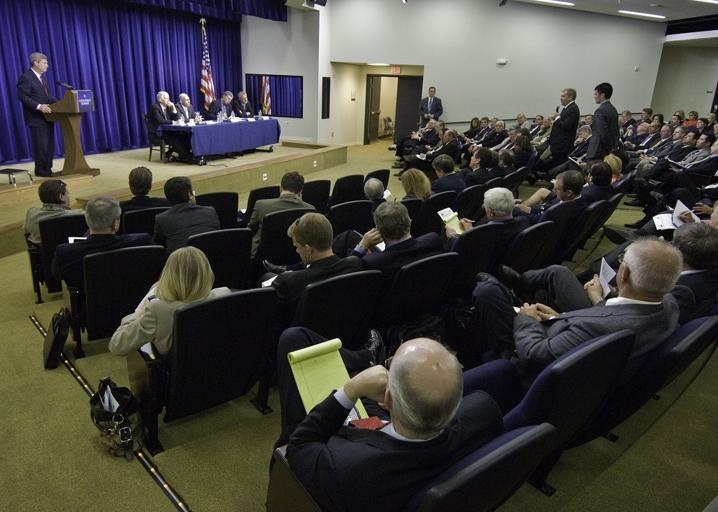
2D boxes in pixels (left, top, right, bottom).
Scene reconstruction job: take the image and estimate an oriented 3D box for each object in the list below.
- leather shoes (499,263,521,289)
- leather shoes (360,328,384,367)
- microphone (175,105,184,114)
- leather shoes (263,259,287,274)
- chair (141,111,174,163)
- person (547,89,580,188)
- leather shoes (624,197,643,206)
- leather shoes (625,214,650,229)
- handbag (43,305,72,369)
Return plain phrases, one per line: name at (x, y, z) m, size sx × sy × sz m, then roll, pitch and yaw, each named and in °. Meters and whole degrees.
leather shoes at (1.147, 0.147, 3.710) m, size 0.146 × 0.199 × 0.154 m, roll 3°, pitch 4°, yaw 37°
leather shoes at (0.080, 0.604, 3.225) m, size 0.121 × 0.314 × 0.103 m, roll 43°, pitch 67°, yaw 8°
microphone at (-3.547, -2.985, 9.832) m, size 0.152 × 0.227 × 0.074 m, roll -16°, pitch -14°, yaw -3°
leather shoes at (-0.702, 0.086, 4.114) m, size 0.155 × 0.066 × 0.053 m, roll 23°, pitch 16°, yaw -21°
chair at (-3.696, -2.253, 9.482) m, size 0.467 × 0.719 × 0.525 m, roll 11°, pitch 20°, yaw -11°
person at (3.287, -1.915, 8.051) m, size 0.420 × 1.583 × 0.537 m, roll 2°, pitch 26°, yaw 11°
leather shoes at (4.413, -0.886, 7.957) m, size 0.112 × 0.145 × 0.335 m, roll -16°, pitch 21°, yaw -32°
leather shoes at (3.676, -0.468, 6.543) m, size 0.113 × 0.158 × 0.348 m, roll -14°, pitch 15°, yaw -27°
handbag at (-2.140, 0.602, 3.545) m, size 0.114 × 0.376 × 0.269 m, roll 6°, pitch 26°, yaw -27°
